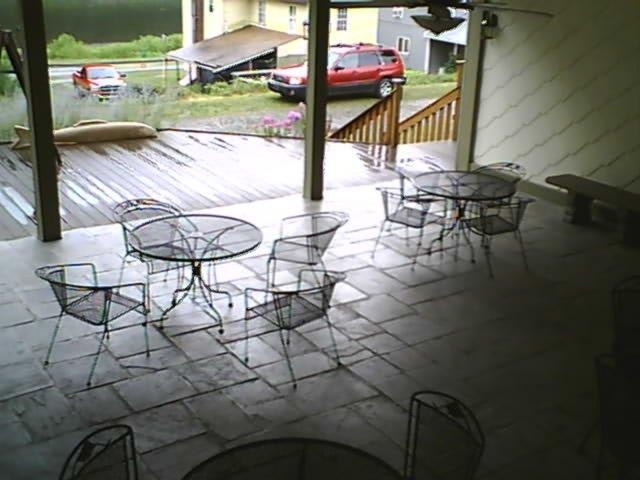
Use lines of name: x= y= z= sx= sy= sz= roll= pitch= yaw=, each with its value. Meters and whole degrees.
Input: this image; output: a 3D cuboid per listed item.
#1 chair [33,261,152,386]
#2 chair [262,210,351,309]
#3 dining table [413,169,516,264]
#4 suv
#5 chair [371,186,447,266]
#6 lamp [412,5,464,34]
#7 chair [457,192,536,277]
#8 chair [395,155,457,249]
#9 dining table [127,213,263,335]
chair: x=-2.074 y=0.799 z=4.951 sx=0.777 sy=0.777 sz=0.762 roll=21 pitch=32 yaw=25
chair: x=-0.165 y=0.168 z=6.313 sx=1.049 sy=0.911 sz=0.786 roll=-1 pitch=24 yaw=1
dining table: x=1.770 y=-0.288 z=6.922 sx=1.477 sy=0.849 sz=1.314 roll=7 pitch=0 yaw=-22
suv: x=0.591 y=-4.689 z=15.311 sx=3.601 sy=1.516 sz=1.159 roll=-9 pitch=30 yaw=-25
chair: x=1.137 y=-0.142 z=6.942 sx=0.797 sy=0.891 sz=0.805 roll=-23 pitch=39 yaw=-29
lamp: x=1.048 y=-1.959 z=4.846 sx=0.467 sy=0.257 sz=0.453 roll=6 pitch=25 yaw=7
chair: x=2.144 y=-0.039 z=6.696 sx=0.784 sy=0.820 sz=0.818 roll=-9 pitch=36 yaw=-6
chair: x=1.431 y=-0.478 z=7.409 sx=0.721 sy=0.608 sz=1.805 roll=-5 pitch=28 yaw=-8
dining table: x=-1.283 y=0.127 z=5.553 sx=1.497 sy=0.772 sz=1.266 roll=10 pitch=31 yaw=10
